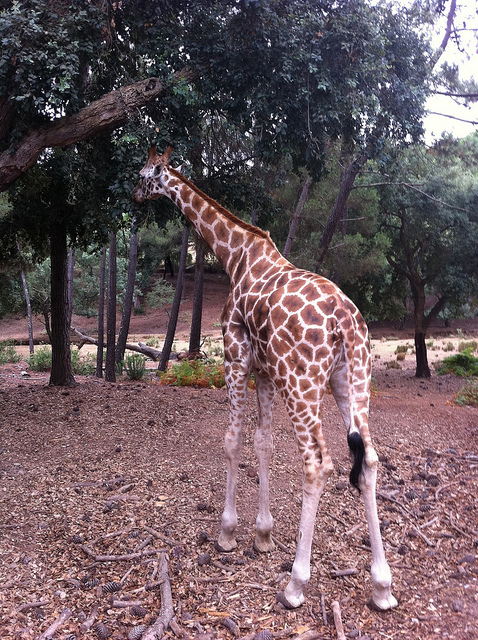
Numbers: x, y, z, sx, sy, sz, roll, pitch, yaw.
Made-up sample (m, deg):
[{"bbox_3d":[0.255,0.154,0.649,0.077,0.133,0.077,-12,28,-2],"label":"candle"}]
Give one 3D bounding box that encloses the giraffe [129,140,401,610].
[{"bbox_3d":[0.189,0.354,4.402,0.699,2.876,2.278,0,6,-31],"label":"giraffe"}]
